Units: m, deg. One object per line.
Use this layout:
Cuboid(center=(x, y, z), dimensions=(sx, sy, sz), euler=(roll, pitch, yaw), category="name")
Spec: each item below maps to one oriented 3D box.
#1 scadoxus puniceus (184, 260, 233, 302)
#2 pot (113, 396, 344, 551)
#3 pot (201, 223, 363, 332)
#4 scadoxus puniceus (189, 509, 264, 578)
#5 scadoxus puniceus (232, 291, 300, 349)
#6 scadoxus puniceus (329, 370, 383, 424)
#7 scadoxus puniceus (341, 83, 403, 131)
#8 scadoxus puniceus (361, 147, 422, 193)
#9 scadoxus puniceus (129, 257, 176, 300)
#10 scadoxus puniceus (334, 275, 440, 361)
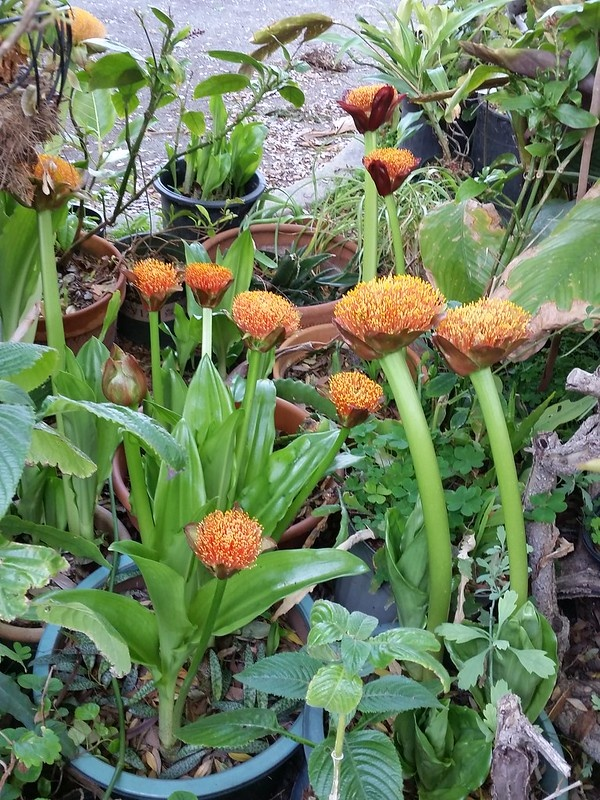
Cuboid(center=(-0.143, -0.188, 0.940), dimensions=(0.065, 0.068, 0.062), euler=(-4, 35, -10), category="scadoxus puniceus")
Cuboid(center=(-0.139, 0.195, 1.208), dimensions=(0.425, 0.267, 0.310), euler=(-16, 42, -13), category="pot")
Cuboid(center=(-0.084, -0.460, 1.811), dimensions=(0.424, 0.137, 0.423), euler=(3, 42, -2), category="pot")
Cuboid(center=(-0.072, 0.145, 0.573), dimensions=(0.069, 0.063, 0.071), euler=(6, 38, -16), category="scadoxus puniceus")
Cuboid(center=(-0.045, -0.117, 0.820), dimensions=(0.079, 0.067, 0.115), euler=(-2, 40, 4), category="scadoxus puniceus")
Cuboid(center=(0.064, 0.007, 0.825), dimensions=(0.069, 0.070, 0.069), euler=(4, 38, -13), category="scadoxus puniceus")
Cuboid(center=(0.140, -0.546, 1.147), dimensions=(0.097, 0.079, 0.097), euler=(1, 26, 5), category="scadoxus puniceus")
Cuboid(center=(0.162, -0.415, 1.082), dimensions=(0.091, 0.077, 0.090), euler=(15, 39, 19), category="scadoxus puniceus")
Cuboid(center=(-0.219, -0.171, 0.922), dimensions=(0.072, 0.060, 0.069), euler=(-14, 46, -26), category="scadoxus puniceus")
Cuboid(center=(0.104, -0.086, 0.646), dimensions=(0.118, 0.069, 0.076), euler=(-22, 43, -19), category="scadoxus puniceus")
